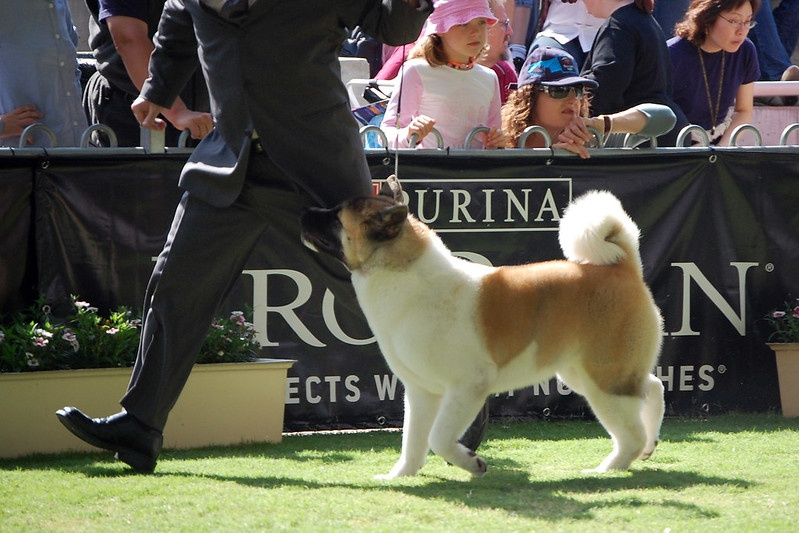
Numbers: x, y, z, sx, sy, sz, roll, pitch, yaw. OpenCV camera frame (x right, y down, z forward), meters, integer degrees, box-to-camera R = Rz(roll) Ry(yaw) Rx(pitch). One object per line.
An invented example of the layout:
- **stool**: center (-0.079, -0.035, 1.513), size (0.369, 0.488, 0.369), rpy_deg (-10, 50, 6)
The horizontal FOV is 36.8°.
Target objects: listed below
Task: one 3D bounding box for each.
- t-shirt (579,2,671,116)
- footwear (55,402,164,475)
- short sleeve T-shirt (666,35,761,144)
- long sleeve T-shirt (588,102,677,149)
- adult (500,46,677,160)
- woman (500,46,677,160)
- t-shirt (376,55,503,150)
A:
- **t-shirt**: center (2.006, -1.723, 10.711), size (0.838, 1.103, 1.412), rpy_deg (4, 8, 28)
- **footwear**: center (-1.913, 1.149, 7.912), size (0.668, 0.414, 0.166), rpy_deg (0, -5, 8)
- **short sleeve T-shirt**: center (2.776, -1.598, 10.788), size (1.036, 0.867, 0.484), rpy_deg (-12, 26, -23)
- **long sleeve T-shirt**: center (1.877, -1.142, 9.848), size (0.575, 0.189, 0.448), rpy_deg (-1, -9, -21)
- **adult**: center (1.530, -1.393, 9.937), size (1.573, 0.547, 0.835), rpy_deg (13, 32, 31)
- **woman**: center (1.384, -1.387, 9.943), size (0.847, 0.601, 1.494), rpy_deg (-13, 15, -31)
- **t-shirt**: center (0.431, -1.251, 10.088), size (1.084, 0.957, 0.593), rpy_deg (-3, 17, -25)
